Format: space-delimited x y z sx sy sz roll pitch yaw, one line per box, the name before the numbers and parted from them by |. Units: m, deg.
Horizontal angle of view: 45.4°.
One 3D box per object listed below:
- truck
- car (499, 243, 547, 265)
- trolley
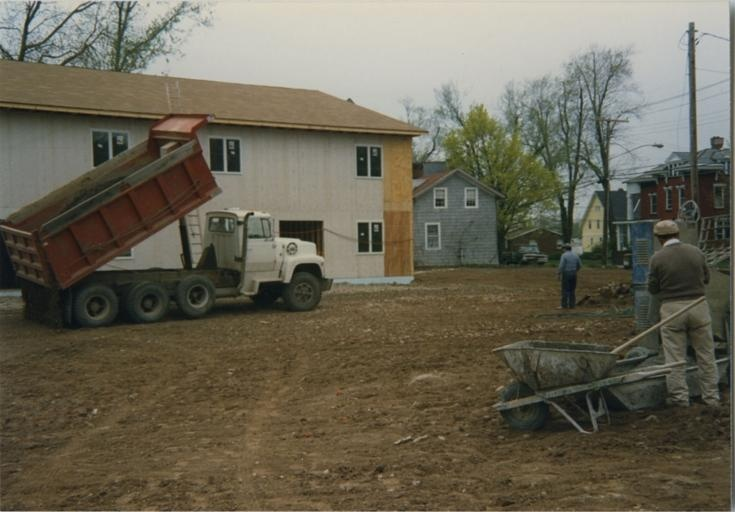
truck | -4.885 -0.548 23.109 8.892 5.154 3.879 -1 1 -32
car | 8.740 -0.032 49.782 1.248 0.941 2.241 -1 -4 -19
trolley | 3.572 2.102 14.613 2.752 1.388 1.456 -3 1 9
